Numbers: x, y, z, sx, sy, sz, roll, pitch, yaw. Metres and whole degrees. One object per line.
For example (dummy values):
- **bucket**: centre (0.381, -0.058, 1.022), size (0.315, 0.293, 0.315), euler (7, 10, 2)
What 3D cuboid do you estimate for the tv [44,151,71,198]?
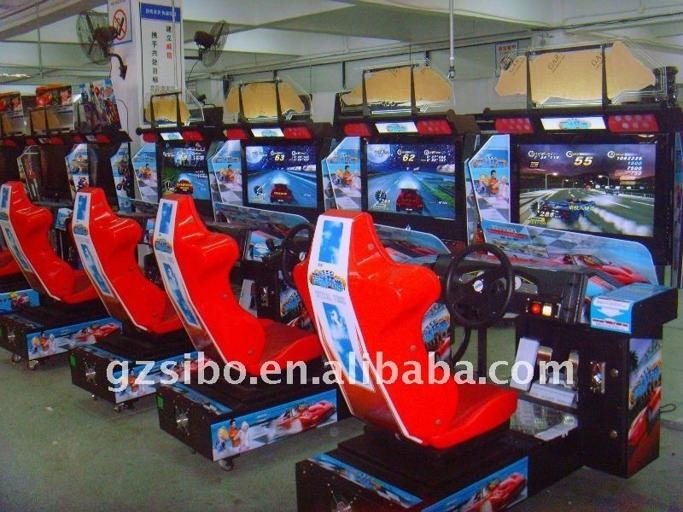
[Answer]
- **tv**: centre (-4.021, -1.185, 7.563), size (0.397, 0.732, 0.082), euler (6, 5, 19)

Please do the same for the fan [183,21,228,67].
- **fan**: centre (-1.663, -2.722, 6.943), size (0.402, 0.547, 0.525), euler (-5, 13, -10)

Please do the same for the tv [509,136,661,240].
- **tv**: centre (1.681, -0.467, 3.654), size (0.750, 0.463, 0.013), euler (8, 14, 40)

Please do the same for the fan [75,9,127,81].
- **fan**: centre (-2.969, -2.581, 6.692), size (0.504, 0.793, 0.319), euler (-9, 14, -22)
